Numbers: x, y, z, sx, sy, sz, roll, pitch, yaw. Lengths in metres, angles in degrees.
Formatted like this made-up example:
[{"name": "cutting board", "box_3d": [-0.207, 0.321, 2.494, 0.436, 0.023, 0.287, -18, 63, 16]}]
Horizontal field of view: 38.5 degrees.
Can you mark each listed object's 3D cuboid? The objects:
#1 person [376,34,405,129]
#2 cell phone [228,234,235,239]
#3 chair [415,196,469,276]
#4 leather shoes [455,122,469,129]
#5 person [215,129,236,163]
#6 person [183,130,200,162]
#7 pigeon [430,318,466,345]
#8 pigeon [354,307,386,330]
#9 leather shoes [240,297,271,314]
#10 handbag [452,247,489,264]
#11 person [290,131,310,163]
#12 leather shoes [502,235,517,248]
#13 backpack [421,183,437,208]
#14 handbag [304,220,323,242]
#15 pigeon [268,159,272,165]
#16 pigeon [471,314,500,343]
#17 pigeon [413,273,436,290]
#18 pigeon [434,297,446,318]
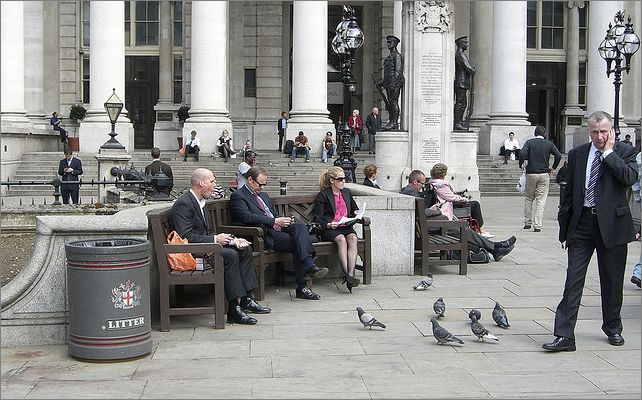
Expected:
[{"name": "person", "box_3d": [2.174, -3.648, 28.612, 0.827, 2.936, 1.360, -3, 8, 4]}, {"name": "cell phone", "box_3d": [-1.745, 0.698, 17.705, 0.087, 0.024, 0.086, 24, 1, 19]}, {"name": "chair", "box_3d": [2.626, 0.856, 20.182, 0.874, 1.116, 1.804, -1, 3, -4]}, {"name": "leather shoes", "box_3d": [4.491, -2.362, 29.669, 0.504, 0.148, 0.190, 2, -32, -6]}, {"name": "person", "box_3d": [-3.898, -2.191, 36.888, 0.768, 1.175, 1.672, -4, 8, -6]}, {"name": "person", "box_3d": [-5.261, -2.198, 36.814, 0.668, 1.128, 2.163, -4, 8, -8]}, {"name": "pigeon", "box_3d": [2.214, 2.368, 16.270, 0.696, 0.406, 0.248, 11, 7, 25]}, {"name": "pigeon", "box_3d": [1.003, 2.196, 16.895, 0.758, 0.402, 0.251, 4, -1, 4]}, {"name": "leather shoes", "box_3d": [-1.200, 2.036, 17.602, 0.743, 0.275, 0.232, 2, 2, 2]}, {"name": "handbag", "box_3d": [3.380, 1.241, 20.579, 0.660, 0.218, 0.376, 1, 3, -6]}, {"name": "person", "box_3d": [-0.853, -2.163, 36.775, 0.912, 1.235, 1.199, 2, 19, 0]}, {"name": "leather shoes", "box_3d": [4.234, 0.977, 21.069, 0.487, 0.149, 0.205, -30, -17, 26]}, {"name": "backpack", "box_3d": [2.514, -0.135, 21.293, 0.420, 0.504, 0.558, 0, -3, 12]}, {"name": "handbag", "box_3d": [-0.210, 0.650, 18.895, 0.363, 0.462, 0.503, -6, 1, 11]}, {"name": "pigeon", "box_3d": [-2.012, -1.449, 35.827, 0.171, 0.073, 0.222, 6, 14, -16]}, {"name": "pigeon", "box_3d": [2.894, 2.311, 16.381, 0.625, 0.386, 0.237, 10, 16, 43]}, {"name": "pigeon", "box_3d": [2.093, 1.649, 18.871, 0.397, 0.373, 0.606, -2, 7, 7]}, {"name": "pigeon", "box_3d": [2.261, 2.024, 17.525, 0.231, 0.358, 0.660, -2, 7, 7]}]
